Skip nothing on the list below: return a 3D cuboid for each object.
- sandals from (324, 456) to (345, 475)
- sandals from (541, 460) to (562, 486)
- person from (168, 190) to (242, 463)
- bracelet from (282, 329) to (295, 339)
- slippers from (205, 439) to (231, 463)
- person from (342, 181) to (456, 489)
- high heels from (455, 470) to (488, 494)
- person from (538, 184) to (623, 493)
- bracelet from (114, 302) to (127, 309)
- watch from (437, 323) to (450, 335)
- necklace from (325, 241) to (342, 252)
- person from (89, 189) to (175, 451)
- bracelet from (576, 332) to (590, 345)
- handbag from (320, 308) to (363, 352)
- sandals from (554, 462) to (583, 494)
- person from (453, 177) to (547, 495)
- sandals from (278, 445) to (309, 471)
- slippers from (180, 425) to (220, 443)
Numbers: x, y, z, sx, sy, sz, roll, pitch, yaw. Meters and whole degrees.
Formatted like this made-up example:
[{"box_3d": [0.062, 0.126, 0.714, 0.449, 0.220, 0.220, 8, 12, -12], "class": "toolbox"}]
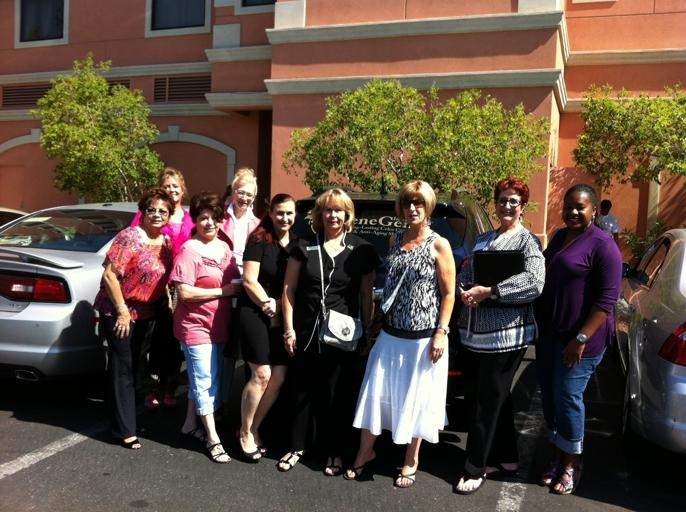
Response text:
[{"box_3d": [-0.072, 1.678, 4.555, 0.071, 0.095, 0.223, 2, -1, 6], "class": "sandals"}, {"box_3d": [1.659, 1.722, 4.469, 0.084, 0.063, 0.252, -1, 42, 32], "class": "sandals"}, {"box_3d": [-1.148, 0.573, 4.779, 0.581, 2.150, 0.675, -3, 10, -23], "class": "person"}, {"box_3d": [-0.430, 0.623, 4.486, 0.057, 0.038, 0.072, -11, -8, 33], "class": "bracelet"}, {"box_3d": [-1.045, 1.620, 4.713, 0.101, 0.130, 0.282, -1, -4, -33], "class": "slippers"}, {"box_3d": [0.499, 0.418, 4.345, 0.682, 1.962, 0.482, 4, 10, 15], "class": "person"}, {"box_3d": [0.995, 1.733, 4.365, 0.116, 0.087, 0.262, -7, -9, 43], "class": "high heels"}, {"box_3d": [1.795, 0.631, 4.402, 0.598, 2.327, 0.528, 10, 12, 42], "class": "person"}, {"box_3d": [-1.888, 0.420, 4.760, 0.056, 0.045, 0.060, 3, -6, -1], "class": "bracelet"}, {"box_3d": [0.763, 0.557, 4.299, 0.059, 0.086, 0.049, 11, 50, 27], "class": "watch"}, {"box_3d": [-0.078, -0.064, 4.492, 0.090, 0.098, 0.025, 15, -34, -13], "class": "necklace"}, {"box_3d": [-1.781, 0.513, 4.918, 0.647, 2.169, 0.528, -5, 11, -35], "class": "person"}, {"box_3d": [1.781, 0.610, 4.175, 0.068, 0.049, 0.083, 12, -29, 17], "class": "bracelet"}, {"box_3d": [-0.027, 0.574, 4.358, 0.252, 0.231, 0.104, 18, -25, -16], "class": "handbag"}, {"box_3d": [1.754, 1.728, 4.384, 0.109, 0.142, 0.335, -3, 2, 31], "class": "sandals"}, {"box_3d": [1.179, 0.597, 4.412, 0.709, 2.374, 0.460, -2, 10, -18], "class": "person"}, {"box_3d": [-0.403, 1.652, 4.651, 0.095, 0.127, 0.297, 0, 2, 29], "class": "sandals"}, {"box_3d": [-1.254, 1.574, 4.949, 0.371, 0.101, 0.169, 7, 12, 24], "class": "slippers"}]
